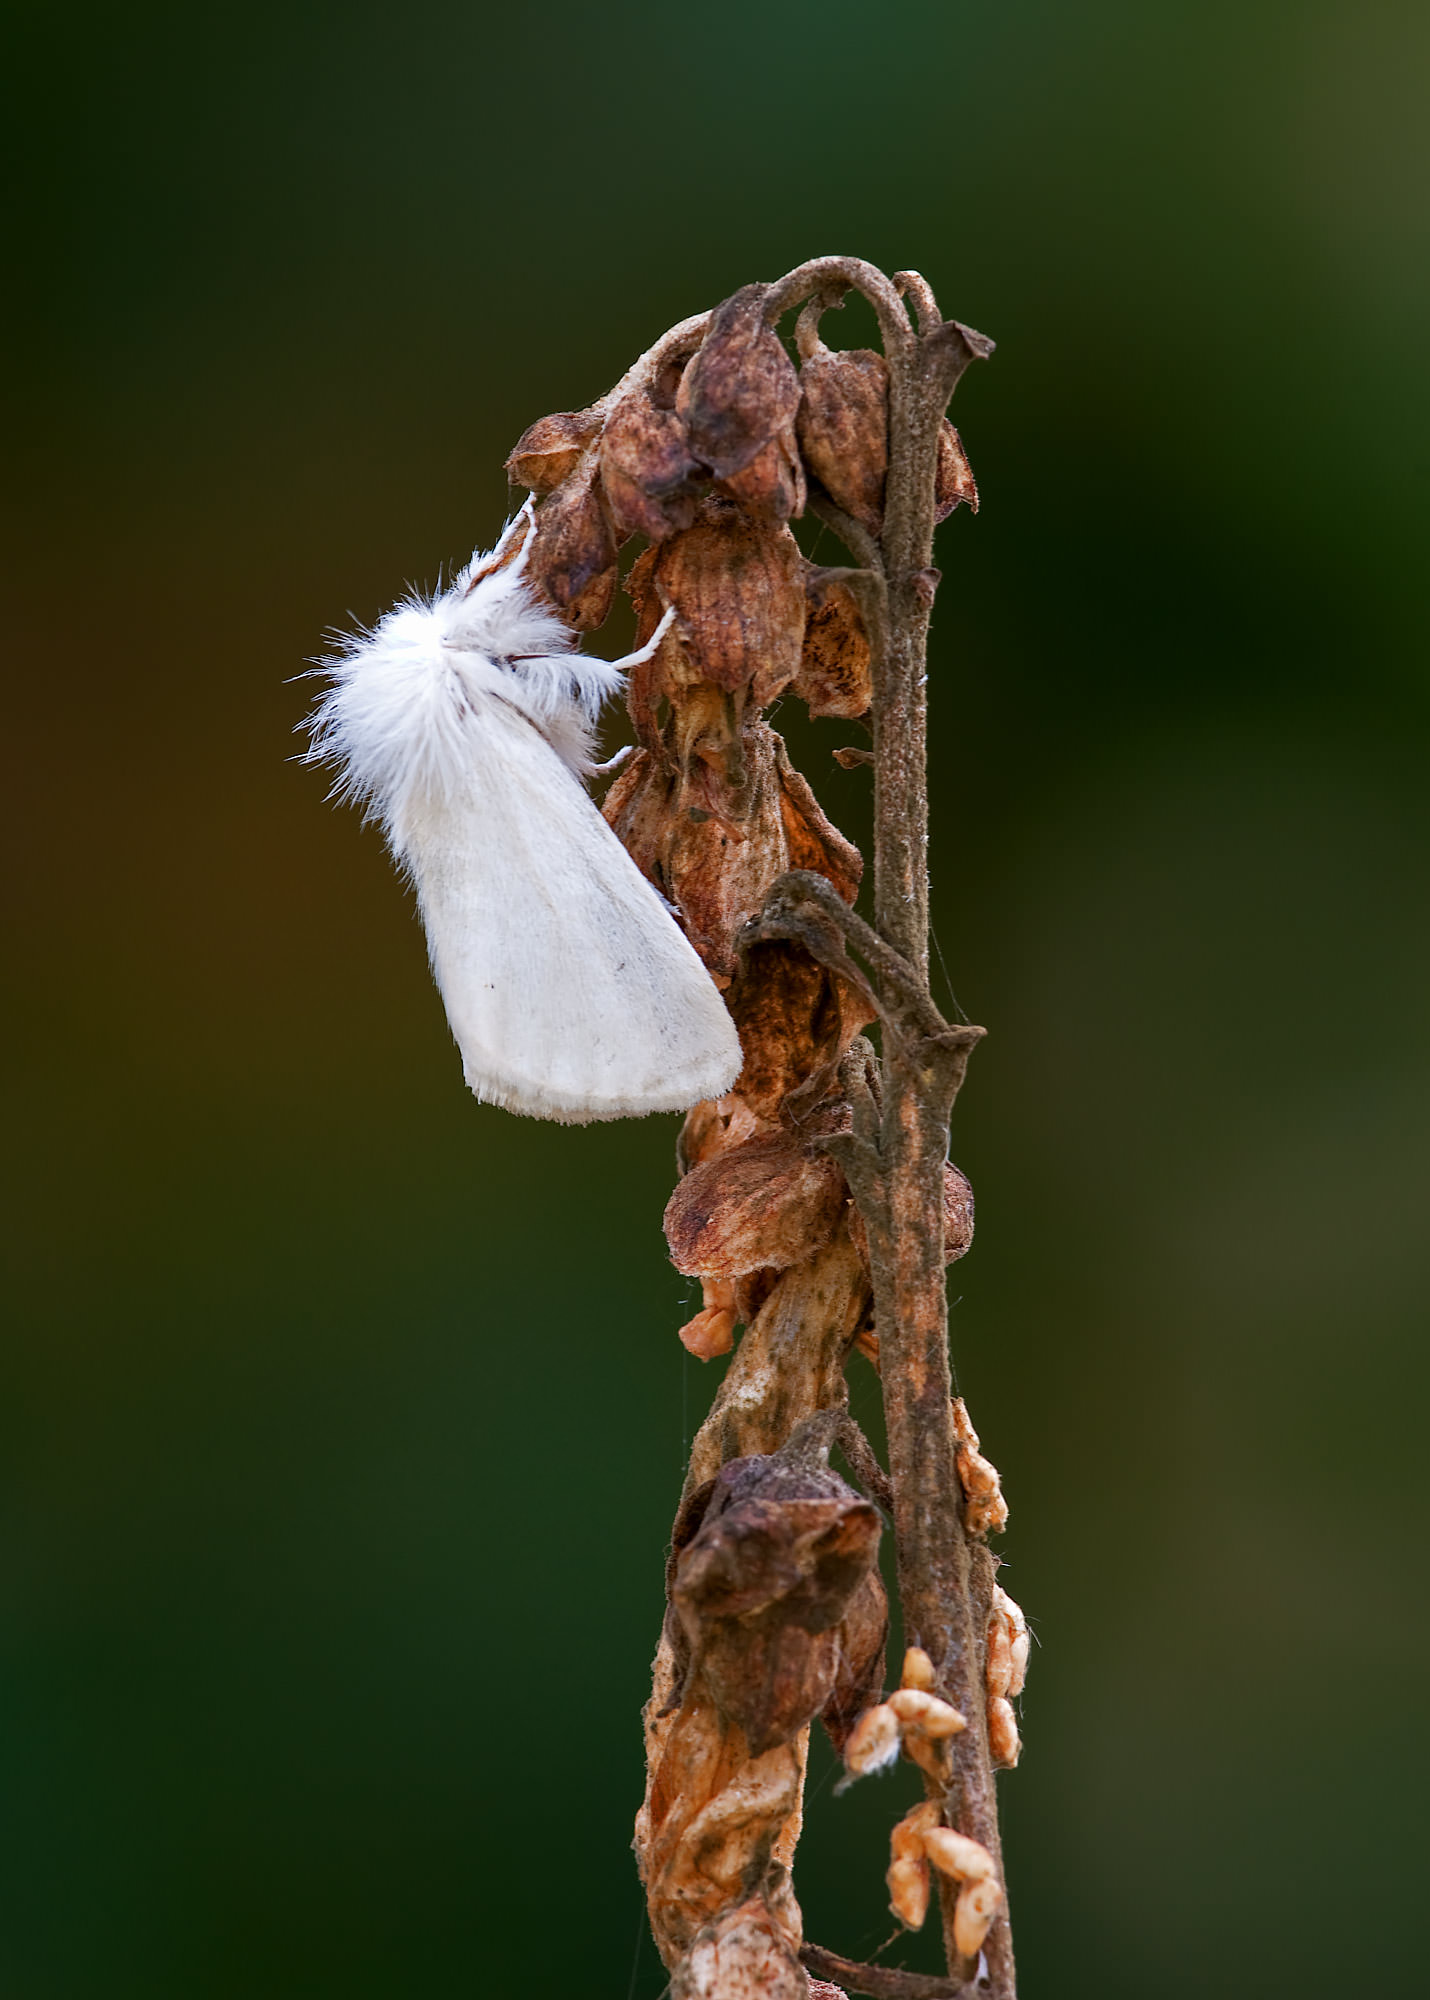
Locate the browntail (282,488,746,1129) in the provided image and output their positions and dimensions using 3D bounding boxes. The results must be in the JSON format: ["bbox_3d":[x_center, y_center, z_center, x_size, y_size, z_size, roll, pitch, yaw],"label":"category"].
[{"bbox_3d":[-0.091,-0.080,1.224,0.173,0.279,0.066,-6,-16,-3],"label":"browntail"}]
